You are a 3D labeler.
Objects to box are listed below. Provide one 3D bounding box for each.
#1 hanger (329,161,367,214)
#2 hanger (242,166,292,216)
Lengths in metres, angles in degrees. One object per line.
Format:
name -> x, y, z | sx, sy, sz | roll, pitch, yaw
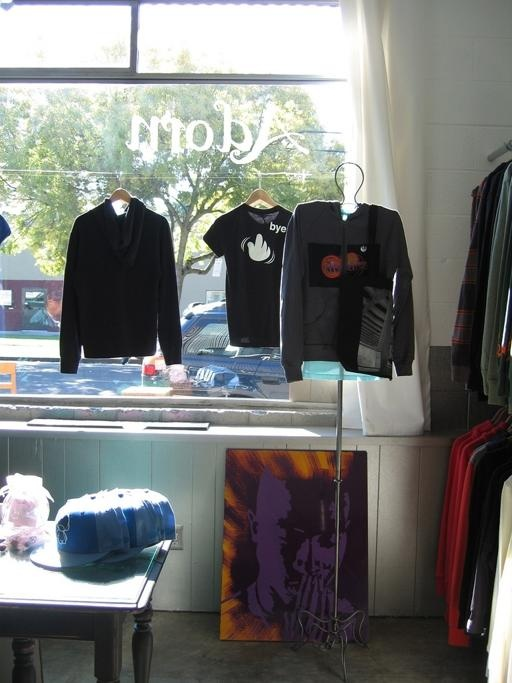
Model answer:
hanger -> 0.365, -0.557, 2.404 | 0.110, 0.334, 0.004 | 1, -20, 9
hanger -> 0.048, -0.678, 2.711 | 0.151, 0.216, 0.397 | 2, 6, 7
